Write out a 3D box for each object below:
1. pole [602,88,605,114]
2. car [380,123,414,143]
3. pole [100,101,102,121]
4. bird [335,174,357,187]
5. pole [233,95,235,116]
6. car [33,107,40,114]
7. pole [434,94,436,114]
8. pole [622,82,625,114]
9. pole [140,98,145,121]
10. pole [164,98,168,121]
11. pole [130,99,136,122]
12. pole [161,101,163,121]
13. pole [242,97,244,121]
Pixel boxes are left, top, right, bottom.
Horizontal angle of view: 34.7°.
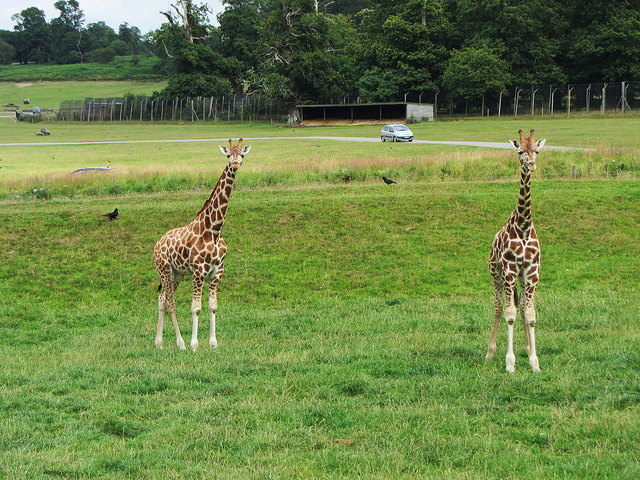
[{"bbox_3d":[27.299,-13.536,98.824,0.186,2.267,0.324,1,4,19],"label":"pole"},{"bbox_3d":[6.204,-8.648,82.762,1.358,1.156,2.296,-4,6,-29],"label":"car"},{"bbox_3d":[-26.977,-15.841,126.226,0.300,2.006,0.751,-2,4,-14],"label":"pole"},{"bbox_3d":[1.466,-3.626,60.886,0.691,0.490,0.782,-1,1,33],"label":"bird"},{"bbox_3d":[-10.277,-15.939,122.004,0.192,2.127,0.418,-1,4,-5],"label":"pole"},{"bbox_3d":[-36.710,-16.804,132.666,0.908,0.882,1.620,-2,4,-13],"label":"car"},{"bbox_3d":[12.606,-15.015,112.570,0.149,2.053,0.522,0,4,6],"label":"pole"},{"bbox_3d":[28.737,-13.542,97.182,0.187,2.811,0.761,0,4,17],"label":"pole"},{"bbox_3d":[-21.636,-15.820,124.266,0.443,2.411,0.368,-2,4,-14],"label":"pole"},{"bbox_3d":[-18.590,-15.795,123.513,0.458,2.387,0.272,1,4,18],"label":"pole"},{"bbox_3d":[-22.932,-15.864,124.899,0.573,2.504,0.457,-2,4,-22],"label":"pole"},{"bbox_3d":[-19.040,-15.695,123.599,0.162,2.168,0.312,0,4,13],"label":"pole"},{"bbox_3d":[-9.206,-15.833,122.593,0.198,2.512,0.504,-1,4,-4],"label":"pole"}]
